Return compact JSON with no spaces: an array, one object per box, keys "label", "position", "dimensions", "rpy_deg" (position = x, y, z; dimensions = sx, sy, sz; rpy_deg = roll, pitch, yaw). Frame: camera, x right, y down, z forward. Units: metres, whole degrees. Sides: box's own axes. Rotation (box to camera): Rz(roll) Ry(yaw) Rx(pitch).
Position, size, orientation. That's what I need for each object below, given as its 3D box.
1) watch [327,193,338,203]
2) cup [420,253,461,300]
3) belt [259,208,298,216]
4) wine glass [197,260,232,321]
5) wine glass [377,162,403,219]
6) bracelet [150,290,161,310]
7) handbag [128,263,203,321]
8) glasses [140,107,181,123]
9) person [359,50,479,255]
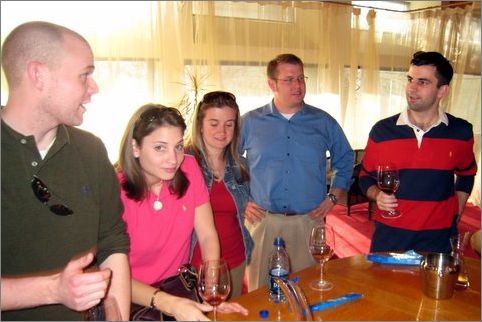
[{"label":"watch","position":[0.842,0.348,3.339],"dimensions":[0.084,0.086,0.088],"rpy_deg":[7,-25,21]},{"label":"cup","position":[1.148,0.677,2.183],"dimensions":[0.231,0.274,0.233],"rpy_deg":[-2,6,0]},{"label":"belt","position":[0.357,0.473,3.251],"dimensions":[0.317,0.045,0.032],"rpy_deg":[1,12,6]},{"label":"wine glass","position":[-0.146,0.729,2.009],"dimensions":[0.174,0.316,0.138],"rpy_deg":[-8,14,-31]},{"label":"wine glass","position":[1.197,0.265,2.906],"dimensions":[0.180,0.481,0.327],"rpy_deg":[4,13,23]},{"label":"bracelet","position":[-0.510,0.831,2.135],"dimensions":[0.031,0.093,0.070],"rpy_deg":[12,-7,-18]},{"label":"handbag","position":[-0.450,0.826,2.204],"dimensions":[0.258,0.127,0.372],"rpy_deg":[17,15,42]},{"label":"glasses","position":[-0.515,-0.300,2.346],"dimensions":[0.202,0.068,0.114],"rpy_deg":[1,33,-6]},{"label":"person","position":[1.528,-0.042,2.978],"dimensions":[0.962,1.703,0.561],"rpy_deg":[-2,12,-4]}]
